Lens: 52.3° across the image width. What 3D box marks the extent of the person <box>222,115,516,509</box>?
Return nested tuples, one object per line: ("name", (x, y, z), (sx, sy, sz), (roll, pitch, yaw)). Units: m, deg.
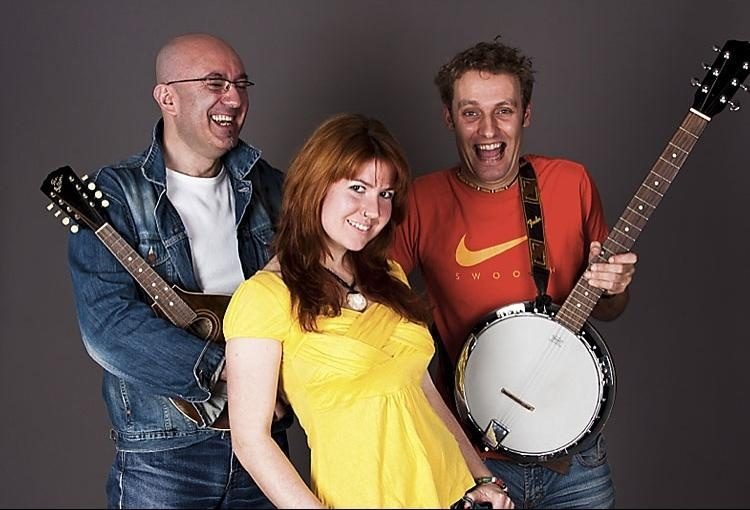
("person", (-0.118, 0.302, 3.339), (1.097, 1.718, 0.740), (-7, 16, -14))
